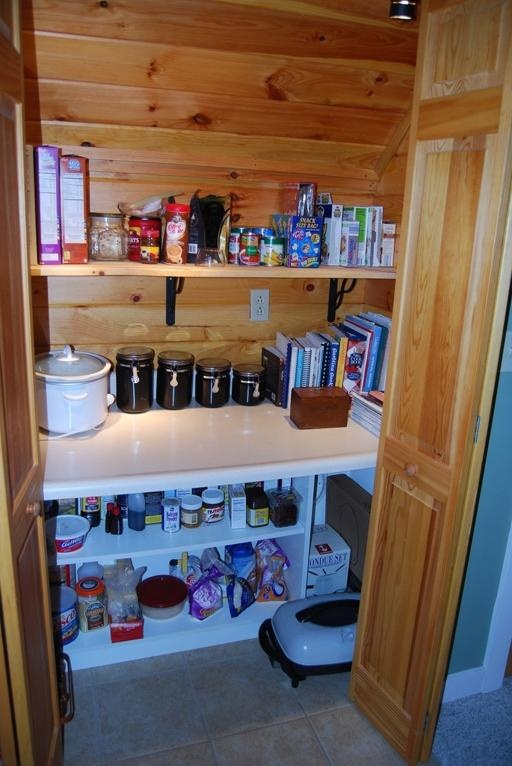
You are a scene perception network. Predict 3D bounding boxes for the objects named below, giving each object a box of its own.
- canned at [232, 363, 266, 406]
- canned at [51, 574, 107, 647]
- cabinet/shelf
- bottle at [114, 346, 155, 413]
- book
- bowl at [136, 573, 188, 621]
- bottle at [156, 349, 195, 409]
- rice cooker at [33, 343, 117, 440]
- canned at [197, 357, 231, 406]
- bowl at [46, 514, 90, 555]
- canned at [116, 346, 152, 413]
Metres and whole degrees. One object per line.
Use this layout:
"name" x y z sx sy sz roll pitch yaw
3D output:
"canned" -0.028 0.007 2.073 0.129 0.141 0.124 -1 19 -8
"canned" -0.536 0.683 1.771 0.105 0.187 0.121 -6 20 -31
"cabinet/shelf" -0.128 0.250 1.826 1.014 1.231 0.652 -2 12 -20
"bottle" -0.393 -0.017 1.875 0.117 0.206 0.139 -8 29 -26
"book" 0.251 -0.070 1.995 0.355 0.459 0.347 -5 16 -26
"bowl" -0.305 0.692 1.928 0.122 0.106 0.144 -5 20 -38
"bottle" -0.267 -0.009 1.894 0.139 0.212 0.147 4 19 -1
"rice cooker" -0.505 0.014 1.687 0.235 0.254 0.248 -1 19 -17
"canned" -0.150 -0.011 1.969 0.142 0.161 0.145 -1 9 -19
"bowl" -0.557 0.445 1.727 0.121 0.061 0.148 -1 13 -19
"canned" -0.394 -0.015 1.876 0.117 0.209 0.147 0 25 -11
